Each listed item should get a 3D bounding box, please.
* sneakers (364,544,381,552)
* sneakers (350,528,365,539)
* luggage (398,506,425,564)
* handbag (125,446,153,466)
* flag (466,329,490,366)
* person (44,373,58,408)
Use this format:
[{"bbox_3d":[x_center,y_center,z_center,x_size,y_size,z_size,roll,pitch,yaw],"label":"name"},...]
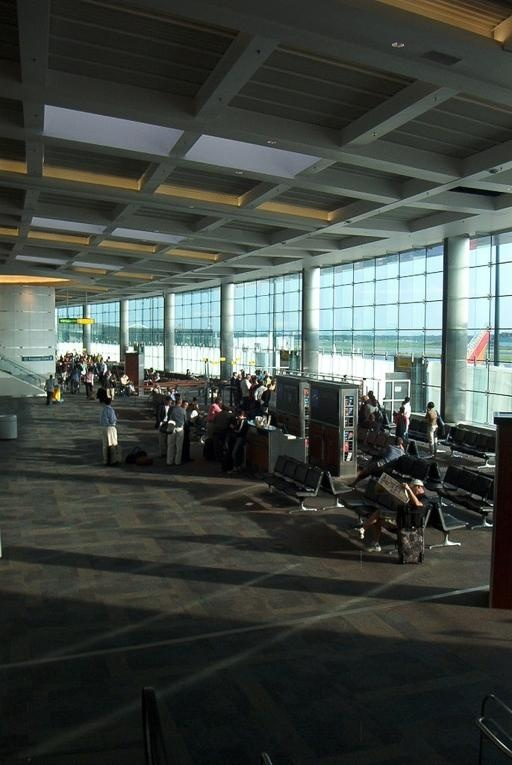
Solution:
[{"bbox_3d":[1.640,2.320,7.758,0.197,0.092,0.085,1,-11,0],"label":"sneakers"},{"bbox_3d":[1.549,2.271,8.433,0.104,0.125,0.292,3,0,-6],"label":"sneakers"},{"bbox_3d":[2.153,2.040,7.370,0.409,0.597,0.356,1,-20,27],"label":"luggage"},{"bbox_3d":[-2.970,1.850,13.842,0.329,0.361,0.932,2,-3,-19],"label":"handbag"},{"bbox_3d":[7.516,-1.200,18.824,0.256,1.106,1.123,1,1,-7],"label":"flag"},{"bbox_3d":[-10.116,0.419,27.336,0.444,1.310,2.013,1,1,-20],"label":"person"}]
